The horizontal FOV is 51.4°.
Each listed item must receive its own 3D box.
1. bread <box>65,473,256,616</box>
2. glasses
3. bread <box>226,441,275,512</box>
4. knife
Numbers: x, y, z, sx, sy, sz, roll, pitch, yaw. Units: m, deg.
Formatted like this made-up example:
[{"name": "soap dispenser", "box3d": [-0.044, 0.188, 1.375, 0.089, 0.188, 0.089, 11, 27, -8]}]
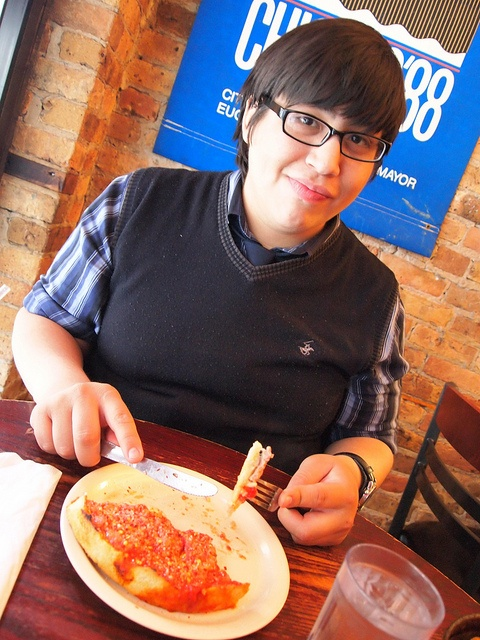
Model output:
[{"name": "bread", "box3d": [-0.087, 0.242, 0.510, 0.161, 0.027, 0.108, 30, 16, 19]}, {"name": "glasses", "box3d": [0.175, -0.315, 0.874, 0.222, 0.093, 0.077, 18, 13, -36]}, {"name": "bread", "box3d": [0.012, 0.223, 0.650, 0.027, 0.041, 0.118, 65, 11, -2]}, {"name": "knife", "box3d": [-0.172, 0.184, 0.650, 0.294, 0.025, 0.037, 16, -22, 27]}]
